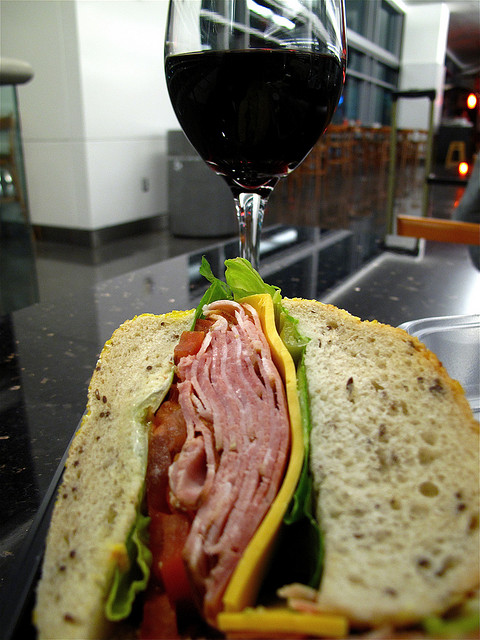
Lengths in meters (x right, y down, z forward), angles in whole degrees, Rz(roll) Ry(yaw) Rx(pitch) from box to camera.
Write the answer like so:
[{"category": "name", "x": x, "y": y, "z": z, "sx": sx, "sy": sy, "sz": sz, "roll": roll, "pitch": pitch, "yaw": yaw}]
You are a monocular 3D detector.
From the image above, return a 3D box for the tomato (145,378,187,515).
[{"category": "tomato", "x": -0.040, "y": 0.065, "z": 0.262, "sx": 0.012, "sy": 0.051, "sz": 0.031, "roll": 23, "pitch": -30, "yaw": -25}]

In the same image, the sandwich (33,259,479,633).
[{"category": "sandwich", "x": 0.009, "y": 0.065, "z": 0.232, "sx": 0.141, "sy": 0.062, "sz": 0.205, "roll": 1, "pitch": 41, "yaw": 13}]

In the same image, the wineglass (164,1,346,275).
[{"category": "wineglass", "x": 0.008, "y": -0.121, "z": 0.349, "sx": 0.115, "sy": 0.174, "sz": 0.075, "roll": 2, "pitch": 23, "yaw": 7}]
